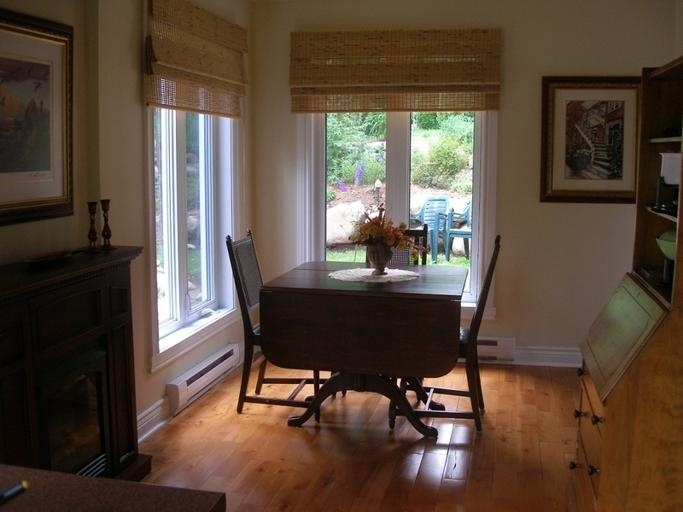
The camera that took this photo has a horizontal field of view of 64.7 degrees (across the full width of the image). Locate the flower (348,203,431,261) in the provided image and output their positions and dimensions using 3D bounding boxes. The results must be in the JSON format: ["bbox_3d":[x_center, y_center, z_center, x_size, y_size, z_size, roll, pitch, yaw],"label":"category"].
[{"bbox_3d":[0.274,-0.124,3.791,0.341,0.217,0.333,-1,-17,-30],"label":"flower"}]

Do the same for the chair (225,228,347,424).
[{"bbox_3d":[-0.425,0.474,4.023,0.652,1.263,0.643,-2,2,1],"label":"chair"}]

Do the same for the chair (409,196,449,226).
[{"bbox_3d":[0.797,-0.437,4.921,0.239,0.371,0.265,5,10,8],"label":"chair"}]

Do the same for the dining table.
[{"bbox_3d":[0.129,0.487,3.431,1.056,0.895,1.080,2,6,13],"label":"dining table"}]

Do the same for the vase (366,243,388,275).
[{"bbox_3d":[0.251,0.024,3.790,0.179,0.282,0.181,0,-1,-3],"label":"vase"}]
